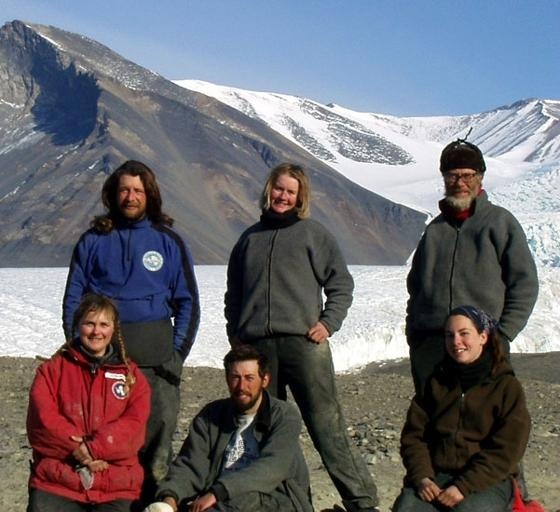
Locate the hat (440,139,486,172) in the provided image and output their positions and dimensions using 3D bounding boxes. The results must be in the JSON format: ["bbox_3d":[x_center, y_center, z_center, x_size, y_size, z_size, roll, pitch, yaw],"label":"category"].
[{"bbox_3d":[1.266,-0.672,4.838,0.297,0.185,0.283,3,3,27],"label":"hat"}]
